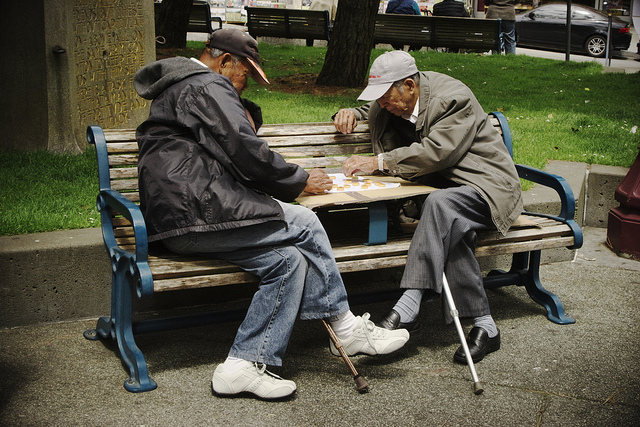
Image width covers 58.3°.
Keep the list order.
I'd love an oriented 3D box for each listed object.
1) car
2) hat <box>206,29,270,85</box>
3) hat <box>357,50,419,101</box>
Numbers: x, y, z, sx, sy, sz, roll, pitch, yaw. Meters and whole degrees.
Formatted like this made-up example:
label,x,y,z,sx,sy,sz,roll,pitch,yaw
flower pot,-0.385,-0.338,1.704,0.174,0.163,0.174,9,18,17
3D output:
label,x,y,z,sx,sy,sz,roll,pitch,yaw
car,8.043,-5.820,18.060,1.324,1.595,4.698,-5,20,-15
hat,-0.605,-1.198,4.369,0.508,0.273,0.336,23,8,-22
hat,0.540,-1.134,4.737,0.534,0.304,0.332,-27,20,-13
